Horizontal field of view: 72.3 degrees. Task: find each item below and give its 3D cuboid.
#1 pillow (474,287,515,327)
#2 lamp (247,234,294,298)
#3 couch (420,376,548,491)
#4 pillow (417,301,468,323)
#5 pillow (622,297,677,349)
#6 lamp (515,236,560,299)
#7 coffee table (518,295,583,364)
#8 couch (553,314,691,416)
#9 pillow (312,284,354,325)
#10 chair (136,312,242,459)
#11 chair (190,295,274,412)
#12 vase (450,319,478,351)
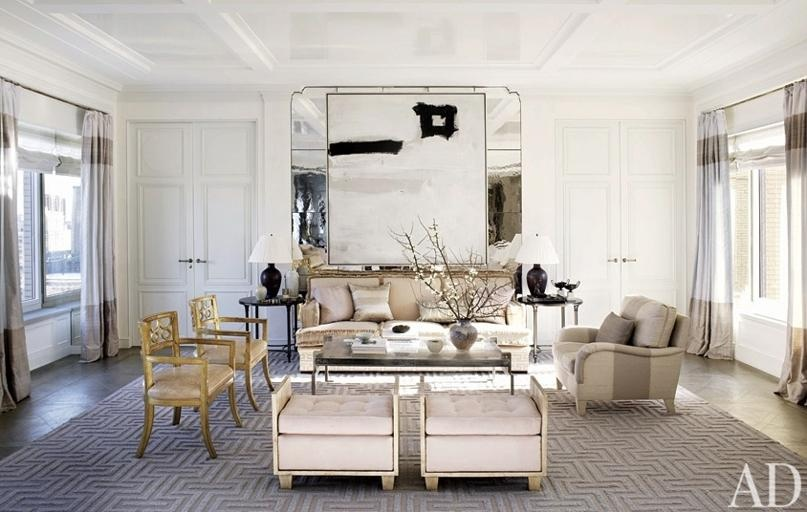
[{"bbox_3d":[1.253,0.760,8.064,0.671,0.186,0.710,10,19,34],"label":"pillow"},{"bbox_3d":[-1.929,0.141,8.278,0.548,0.960,0.727,-1,3,4],"label":"lamp"},{"bbox_3d":[0.820,1.782,5.743,1.321,0.741,1.234,-2,1,0],"label":"couch"},{"bbox_3d":[0.545,0.776,7.653,0.579,0.339,0.186,6,-5,11],"label":"pillow"},{"bbox_3d":[2.992,0.828,6.957,0.402,0.600,1.076,0,4,-2],"label":"pillow"},{"bbox_3d":[1.988,0.143,8.320,0.574,0.908,0.729,0,3,11],"label":"lamp"},{"bbox_3d":[2.157,1.084,8.425,1.000,0.869,1.043,-1,-1,-1],"label":"coffee table"},{"bbox_3d":[2.669,1.240,7.027,1.404,1.124,1.445,-2,2,11],"label":"couch"},{"bbox_3d":[-1.010,0.681,7.963,0.543,0.519,0.163,-11,-23,-39],"label":"pillow"},{"bbox_3d":[-2.403,1.363,6.190,0.918,1.368,1.092,3,4,0],"label":"chair"},{"bbox_3d":[-2.186,1.162,6.971,0.936,1.228,0.963,2,5,-1],"label":"chair"},{"bbox_3d":[0.684,0.914,6.545,0.353,0.376,0.357,-1,1,-6],"label":"vase"}]
